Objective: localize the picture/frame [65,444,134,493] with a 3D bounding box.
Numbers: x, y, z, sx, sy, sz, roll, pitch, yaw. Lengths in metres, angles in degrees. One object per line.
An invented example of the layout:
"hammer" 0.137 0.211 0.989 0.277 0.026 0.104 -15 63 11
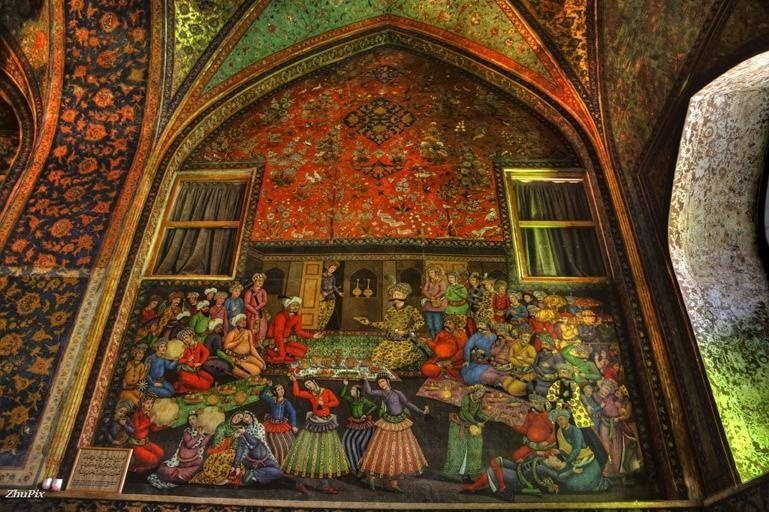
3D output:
"picture/frame" -3.057 2.308 5.868 0.610 0.461 0.057 1 -44 -1
